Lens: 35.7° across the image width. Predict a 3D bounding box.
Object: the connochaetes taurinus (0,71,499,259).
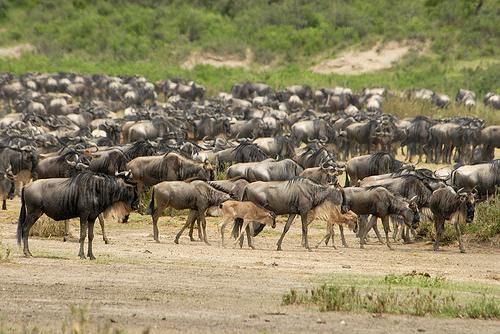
[{"bbox_3d":[-3.967,-3.181,57.930,33.543,4.650,43.012,-1,12,-10],"label":"connochaetes taurinus"}]
